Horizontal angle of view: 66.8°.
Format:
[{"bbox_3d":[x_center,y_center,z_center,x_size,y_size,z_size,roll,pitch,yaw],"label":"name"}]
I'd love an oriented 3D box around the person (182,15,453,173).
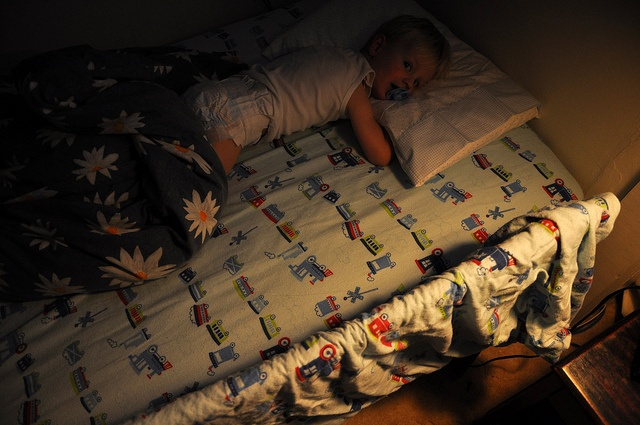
[{"bbox_3d":[0.046,-0.492,2.026,1.061,0.561,0.354,-16,-25,-7],"label":"person"}]
